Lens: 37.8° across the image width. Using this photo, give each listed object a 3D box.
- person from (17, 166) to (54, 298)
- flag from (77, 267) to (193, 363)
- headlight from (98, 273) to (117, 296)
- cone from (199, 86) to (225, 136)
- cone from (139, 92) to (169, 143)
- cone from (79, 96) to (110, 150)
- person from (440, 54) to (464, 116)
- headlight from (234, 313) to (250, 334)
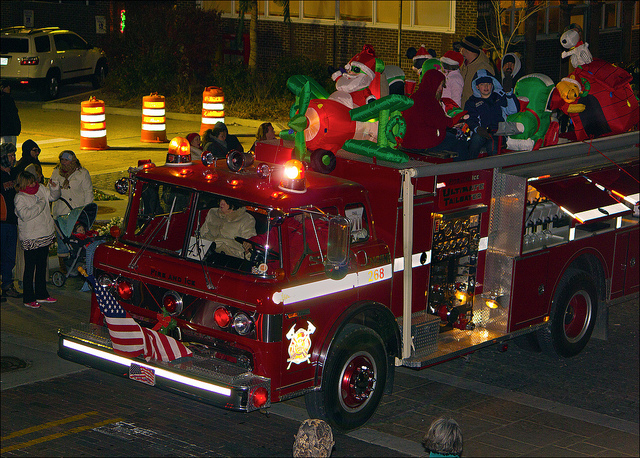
[{"bbox_3d":[-4.165,-0.020,13.929,0.436,2.053,0.827,-4,14,-9],"label":"person"},{"bbox_3d":[-2.006,1.021,10.241,1.235,0.773,0.321,5,16,28],"label":"flag"},{"bbox_3d":[-2.506,0.605,10.876,0.191,0.266,0.207,-3,3,11],"label":"headlight"},{"bbox_3d":[-2.865,-3.502,25.198,0.861,1.329,0.868,10,15,29],"label":"cone"},{"bbox_3d":[-4.516,-3.355,25.190,1.126,1.634,1.131,-3,16,-12],"label":"cone"},{"bbox_3d":[-5.740,-2.980,23.700,0.808,1.300,0.820,10,14,30],"label":"cone"},{"bbox_3d":[1.940,-2.294,13.718,0.356,1.056,1.204,6,6,5],"label":"person"},{"bbox_3d":[-0.821,0.986,9.906,0.188,0.195,0.052,6,9,36],"label":"headlight"}]
